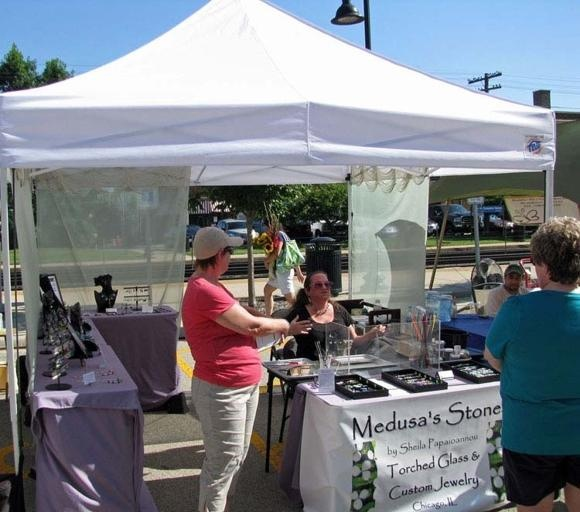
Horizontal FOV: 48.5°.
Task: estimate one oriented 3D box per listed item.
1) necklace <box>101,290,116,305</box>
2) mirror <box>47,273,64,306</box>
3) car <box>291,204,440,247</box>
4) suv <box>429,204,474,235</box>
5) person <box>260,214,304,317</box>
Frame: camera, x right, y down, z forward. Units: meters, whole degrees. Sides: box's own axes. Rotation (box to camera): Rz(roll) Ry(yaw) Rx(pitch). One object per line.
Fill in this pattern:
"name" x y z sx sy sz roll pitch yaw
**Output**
"necklace" -1.839 0.419 6.525 0.113 0.157 0.070 5 -12 -39
"mirror" -2.077 0.291 5.714 0.019 0.313 0.293 -19 -8 4
"car" 2.155 -0.891 30.736 5.280 1.973 2.551 -1 7 -28
"suv" 7.739 -1.762 30.926 1.917 1.530 2.001 1 5 20
"person" -0.110 0.281 9.638 0.768 1.657 0.414 3 2 10
